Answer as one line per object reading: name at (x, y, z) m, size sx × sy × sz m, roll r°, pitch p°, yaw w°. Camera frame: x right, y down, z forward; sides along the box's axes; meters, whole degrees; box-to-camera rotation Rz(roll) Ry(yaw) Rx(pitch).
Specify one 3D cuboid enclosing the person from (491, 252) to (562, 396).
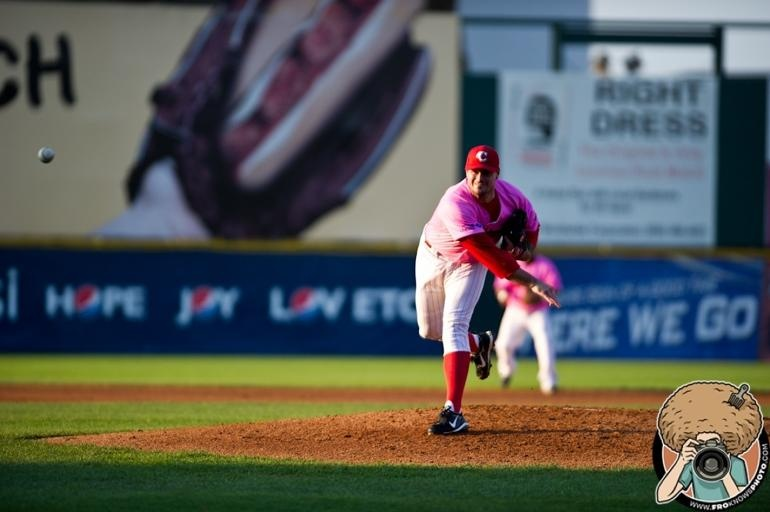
person at (1.593, 0.622, 18.020) m, size 0.687 × 1.910 × 0.649 m, roll 1°, pitch 22°, yaw 10°

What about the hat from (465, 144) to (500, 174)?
hat at (1.004, -0.986, 15.896) m, size 0.220 × 0.208 × 0.344 m, roll 5°, pitch -4°, yaw 5°

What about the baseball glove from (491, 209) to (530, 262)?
baseball glove at (1.334, -0.191, 16.084) m, size 0.487 × 0.364 × 0.193 m, roll -43°, pitch -6°, yaw -13°

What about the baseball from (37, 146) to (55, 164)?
baseball at (-4.233, -1.274, 19.627) m, size 0.226 × 0.197 × 0.168 m, roll -1°, pitch 3°, yaw -9°

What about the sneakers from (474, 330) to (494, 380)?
sneakers at (1.007, 1.048, 16.422) m, size 0.171 × 0.527 × 0.244 m, roll 6°, pitch 16°, yaw 23°

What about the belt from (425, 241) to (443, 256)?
belt at (0.499, -0.094, 16.024) m, size 0.036 × 0.140 × 0.135 m, roll -37°, pitch 17°, yaw -6°
